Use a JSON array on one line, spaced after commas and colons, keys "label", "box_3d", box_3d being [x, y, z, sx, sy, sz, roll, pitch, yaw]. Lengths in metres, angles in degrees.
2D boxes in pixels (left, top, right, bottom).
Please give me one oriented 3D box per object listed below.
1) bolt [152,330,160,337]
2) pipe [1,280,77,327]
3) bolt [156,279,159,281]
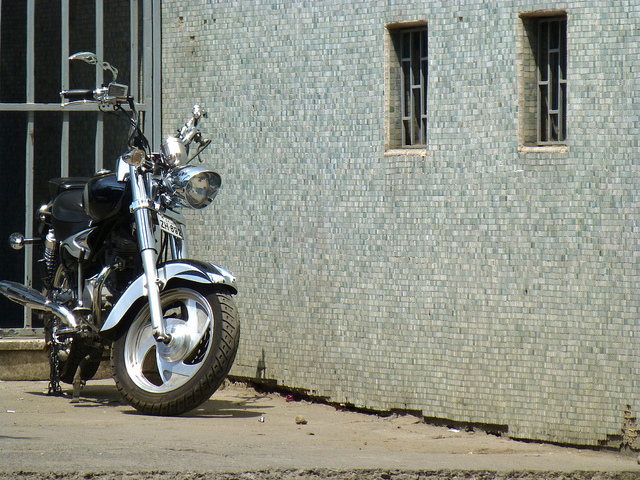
[{"label": "bolt", "box_3d": [-1.188, 0.672, 11.564, 0.055, 0.058, 0.017, -1, -2, 5]}, {"label": "pipe", "box_3d": [-2.230, 0.506, 12.728, 0.704, 0.147, 0.166, 25, 7, 29]}, {"label": "bolt", "box_3d": [-1.190, 0.286, 11.656, 0.010, 0.010, 0.010, -16, 41, 12]}]
